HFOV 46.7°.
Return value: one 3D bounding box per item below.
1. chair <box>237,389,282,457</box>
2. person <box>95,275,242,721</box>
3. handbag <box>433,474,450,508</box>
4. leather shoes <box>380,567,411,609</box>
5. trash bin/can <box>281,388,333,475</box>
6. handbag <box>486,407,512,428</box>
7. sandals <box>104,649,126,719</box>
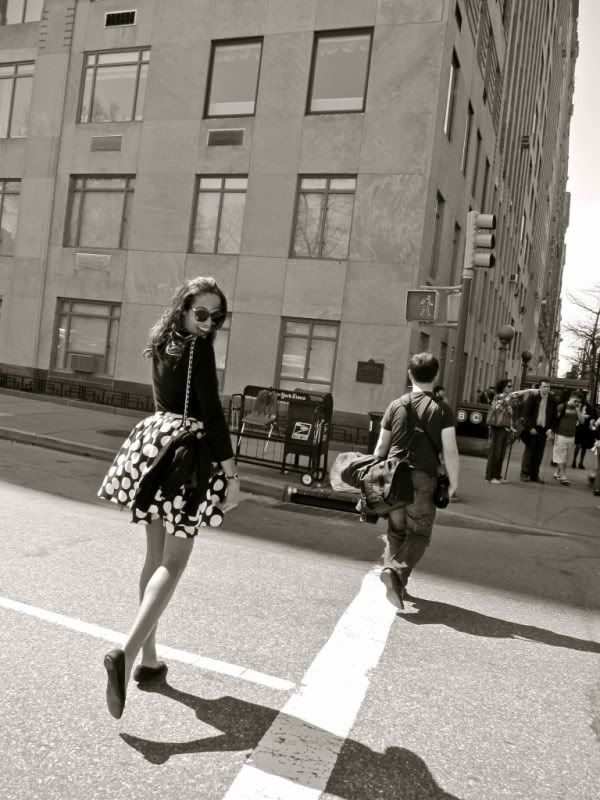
[{"bbox_3d":[-0.659,0.358,11.430,0.464,1.109,0.699,8,2,11],"label":"chair"},{"bbox_3d":[-0.455,0.323,2.602,0.472,1.692,0.641,4,0,-18],"label":"person"},{"bbox_3d":[0.947,0.611,4.629,0.065,0.271,0.088,4,2,21],"label":"handbag"},{"bbox_3d":[0.565,1.192,4.118,0.094,0.368,0.122,-10,2,28],"label":"leather shoes"},{"bbox_3d":[0.066,0.516,10.181,0.663,1.287,1.184,4,-1,8],"label":"trash bin/can"},{"bbox_3d":[3.528,0.312,12.317,0.352,0.525,0.289,0,-3,26],"label":"handbag"},{"bbox_3d":[-0.607,0.902,2.265,0.059,0.246,0.079,-2,-4,22],"label":"sandals"}]
